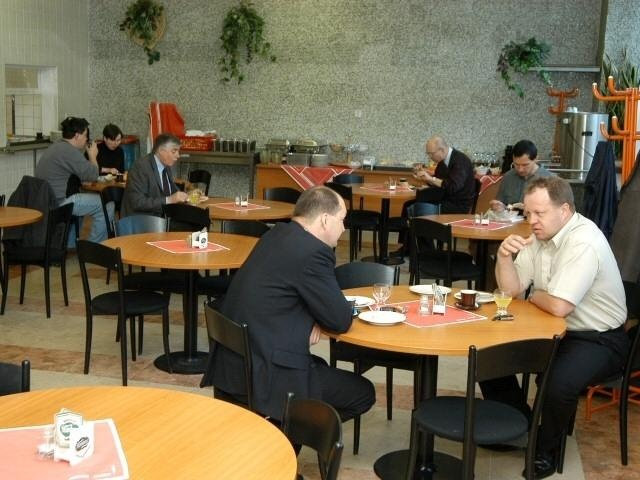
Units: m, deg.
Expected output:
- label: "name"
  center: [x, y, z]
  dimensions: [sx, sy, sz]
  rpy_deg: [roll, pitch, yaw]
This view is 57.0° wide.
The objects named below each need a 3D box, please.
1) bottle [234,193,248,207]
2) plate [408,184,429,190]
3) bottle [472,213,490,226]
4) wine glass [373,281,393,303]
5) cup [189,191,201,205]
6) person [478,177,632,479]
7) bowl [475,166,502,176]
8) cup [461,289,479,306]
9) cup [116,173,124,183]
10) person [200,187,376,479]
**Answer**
- label: "bottle"
  center: [-0.765, -0.414, 5.935]
  dimensions: [0.128, 0.156, 0.160]
  rpy_deg: [-11, 16, -36]
- label: "plate"
  center: [1.278, -0.690, 7.641]
  dimensions: [0.279, 0.077, 0.303]
  rpy_deg: [1, 2, 43]
- label: "bottle"
  center: [1.463, -0.181, 5.321]
  dimensions: [0.139, 0.086, 0.136]
  rpy_deg: [0, 7, 0]
- label: "wine glass"
  center: [0.323, 0.277, 3.107]
  dimensions: [0.101, 0.153, 0.102]
  rpy_deg: [2, 7, 6]
- label: "cup"
  center: [-1.253, -0.422, 5.931]
  dimensions: [0.138, 0.151, 0.135]
  rpy_deg: [1, 2, 0]
- label: "person"
  center: [1.262, 0.449, 3.227]
  dimensions: [0.706, 1.587, 0.581]
  rpy_deg: [-7, 11, -39]
- label: "bowl"
  center: [2.482, -1.024, 8.770]
  dimensions: [0.279, 0.100, 0.194]
  rpy_deg: [-1, 3, 18]
- label: "cup"
  center: [0.798, 0.312, 3.141]
  dimensions: [0.090, 0.066, 0.071]
  rpy_deg: [2, 1, 6]
- label: "cup"
  center: [-2.569, -0.797, 7.604]
  dimensions: [0.147, 0.138, 0.144]
  rpy_deg: [0, 0, 0]
- label: "person"
  center: [-0.146, 0.331, 2.911]
  dimensions: [0.609, 1.178, 0.638]
  rpy_deg: [-8, 11, -43]
